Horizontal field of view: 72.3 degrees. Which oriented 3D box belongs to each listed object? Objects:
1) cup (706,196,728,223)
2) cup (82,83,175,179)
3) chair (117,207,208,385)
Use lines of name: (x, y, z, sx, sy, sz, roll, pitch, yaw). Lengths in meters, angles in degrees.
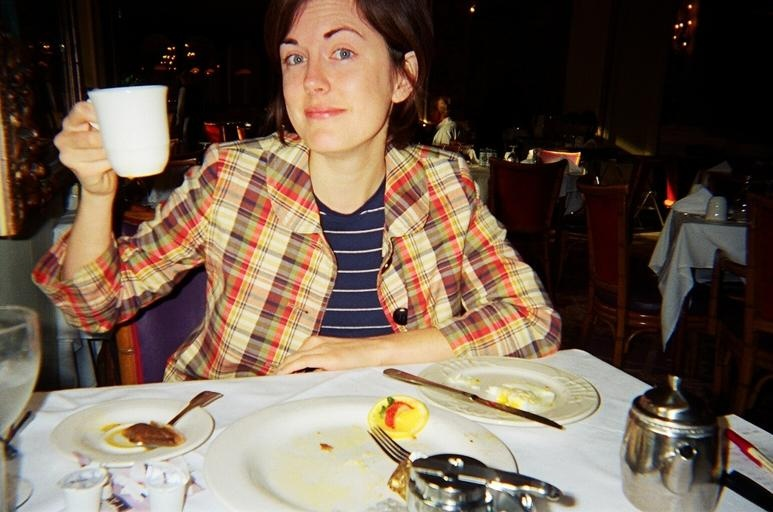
cup: (2.210, -0.306, 3.534, 0.171, 0.158, 0.143, -4, 7, -29)
cup: (-0.541, -0.267, 1.142, 0.219, 0.177, 0.148, 7, 19, 22)
chair: (-0.706, 0.133, 1.680, 0.339, 0.286, 0.480, -13, -21, -30)
